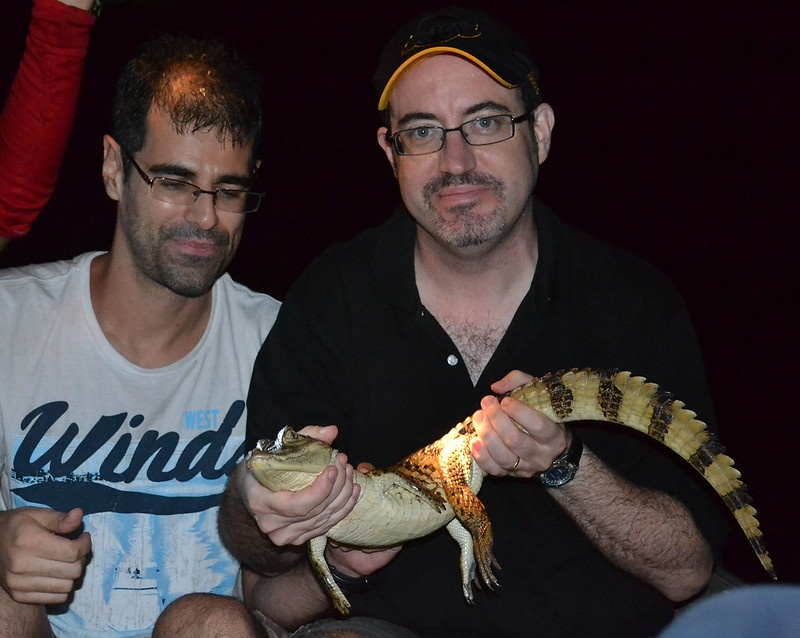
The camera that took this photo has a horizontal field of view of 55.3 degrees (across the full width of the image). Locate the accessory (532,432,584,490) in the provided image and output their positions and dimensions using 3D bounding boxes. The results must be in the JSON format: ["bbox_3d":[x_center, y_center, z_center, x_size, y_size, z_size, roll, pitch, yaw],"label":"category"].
[{"bbox_3d":[0.642,0.554,3.048,0.144,0.220,0.228,36,6,19],"label":"accessory"}]
